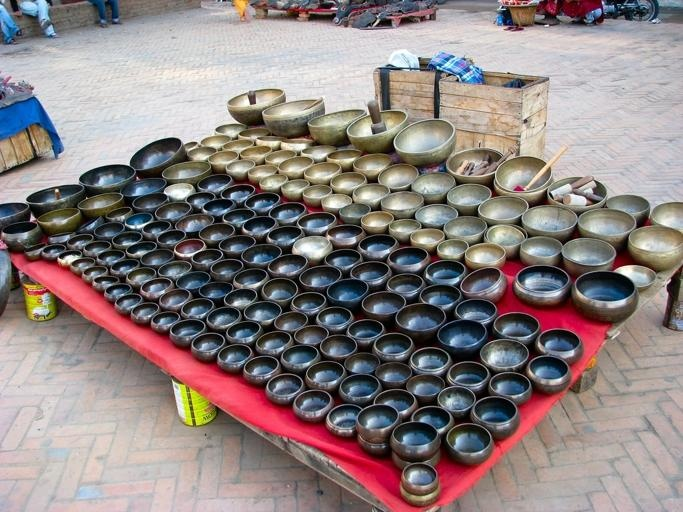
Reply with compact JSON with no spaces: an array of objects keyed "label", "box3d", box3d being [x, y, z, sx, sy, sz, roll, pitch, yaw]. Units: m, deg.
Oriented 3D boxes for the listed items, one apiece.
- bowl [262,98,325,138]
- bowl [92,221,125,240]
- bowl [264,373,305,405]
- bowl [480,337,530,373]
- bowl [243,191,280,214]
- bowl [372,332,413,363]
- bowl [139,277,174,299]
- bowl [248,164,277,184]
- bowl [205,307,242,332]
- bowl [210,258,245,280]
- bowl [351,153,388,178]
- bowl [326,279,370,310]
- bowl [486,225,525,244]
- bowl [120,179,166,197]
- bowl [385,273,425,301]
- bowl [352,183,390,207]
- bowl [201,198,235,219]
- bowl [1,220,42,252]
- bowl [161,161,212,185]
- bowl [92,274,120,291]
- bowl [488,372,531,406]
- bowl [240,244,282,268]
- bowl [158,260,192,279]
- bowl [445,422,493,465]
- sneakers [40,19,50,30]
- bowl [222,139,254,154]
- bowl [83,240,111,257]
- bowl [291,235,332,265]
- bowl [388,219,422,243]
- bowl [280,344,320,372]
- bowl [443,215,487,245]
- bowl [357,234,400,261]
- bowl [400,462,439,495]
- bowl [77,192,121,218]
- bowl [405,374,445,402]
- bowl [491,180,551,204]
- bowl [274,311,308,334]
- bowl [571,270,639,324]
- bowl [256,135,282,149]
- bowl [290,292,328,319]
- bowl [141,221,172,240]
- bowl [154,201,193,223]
[{"label":"bowl","box3d":[-0.495,-1.380,5.125,0.823,0.238,0.485,-13,31,-11]},{"label":"bowl","box3d":[-1.929,-0.191,4.282,0.262,0.088,0.171,5,42,5]},{"label":"bowl","box3d":[-0.323,0.767,2.963,0.263,0.066,0.178,-2,33,8]},{"label":"bowl","box3d":[0.939,0.578,2.934,0.294,0.109,0.188,-9,46,4]},{"label":"bowl","box3d":[-0.688,-0.443,4.341,0.289,0.087,0.248,20,44,30]},{"label":"bowl","box3d":[0.312,0.547,3.041,0.249,0.080,0.164,-3,43,11]},{"label":"bowl","box3d":[-1.329,0.249,3.695,0.226,0.062,0.205,1,30,-1]},{"label":"bowl","box3d":[-0.675,-0.727,4.666,0.276,0.089,0.191,-21,45,-17]},{"label":"bowl","box3d":[-0.779,0.438,3.422,0.229,0.061,0.200,17,35,29]},{"label":"bowl","box3d":[-0.839,0.088,3.698,0.256,0.066,0.172,4,38,4]},{"label":"bowl","box3d":[0.249,-0.791,4.465,0.379,0.110,0.250,-1,44,16]},{"label":"bowl","box3d":[0.080,0.250,3.565,0.399,0.297,0.129,10,71,-9]},{"label":"bowl","box3d":[1.160,-0.153,3.629,0.245,0.070,0.160,-16,37,-5]},{"label":"bowl","box3d":[-1.813,-0.631,4.717,0.345,0.065,0.238,6,37,12]},{"label":"bowl","box3d":[0.435,0.185,3.366,0.256,0.113,0.210,-21,42,-22]},{"label":"bowl","box3d":[0.219,-0.503,4.136,0.342,0.094,0.228,-8,42,3]},{"label":"bowl","box3d":[-1.036,-0.421,4.329,0.310,0.079,0.208,4,38,9]},{"label":"bowl","box3d":[-2.696,-0.194,4.400,0.413,0.147,0.305,-3,24,-7]},{"label":"bowl","box3d":[-1.465,-0.787,4.765,0.452,0.096,0.296,1,38,6]},{"label":"bowl","box3d":[-1.740,0.186,3.784,0.189,0.049,0.127,4,38,2]},{"label":"bowl","box3d":[0.893,0.710,2.744,0.233,0.061,0.175,-14,31,-15]},{"label":"bowl","box3d":[-0.613,0.005,3.793,0.300,0.074,0.202,2,35,9]},{"label":"bowl","box3d":[-1.233,0.086,3.833,0.224,0.059,0.167,11,35,18]},{"label":"bowl","box3d":[0.629,0.933,2.553,0.233,0.067,0.200,16,36,29]},{"label":"sneakers","box3d":[-8.372,-6.562,14.598,0.146,0.183,0.465,-52,17,-22]},{"label":"bowl","box3d":[-1.057,-1.130,5.233,0.318,0.085,0.304,-7,20,3]},{"label":"bowl","box3d":[-1.966,-0.065,4.144,0.222,0.059,0.168,-14,40,-22]},{"label":"bowl","box3d":[-0.164,-0.026,3.858,0.325,0.094,0.261,-19,39,-23]},{"label":"bowl","box3d":[0.468,-0.202,3.842,0.292,0.103,0.195,1,38,6]},{"label":"bowl","box3d":[-0.252,0.614,3.091,0.237,0.063,0.182,10,30,19]},{"label":"bowl","box3d":[0.905,-0.209,3.692,0.336,0.121,0.244,-19,44,-6]},{"label":"bowl","box3d":[0.265,-0.057,3.716,0.326,0.091,0.215,-4,39,9]},{"label":"bowl","box3d":[0.386,1.062,2.426,0.180,0.116,0.078,13,34,31]},{"label":"bowl","box3d":[-2.103,-0.454,4.527,0.386,0.136,0.291,12,41,21]},{"label":"bowl","box3d":[0.457,0.720,2.779,0.223,0.065,0.144,-3,41,5]},{"label":"bowl","box3d":[1.335,-0.473,3.893,0.290,0.074,0.245,-13,22,-28]},{"label":"bowl","box3d":[-0.326,0.424,3.339,0.226,0.077,0.162,-10,31,-11]},{"label":"bowl","box3d":[1.580,0.233,3.094,0.471,0.228,0.320,-5,45,17]},{"label":"bowl","box3d":[-0.709,-1.134,5.067,0.207,0.061,0.215,-1,24,0]},{"label":"bowl","box3d":[-0.212,0.305,3.369,0.271,0.100,0.180,-3,38,-2]},{"label":"bowl","box3d":[-1.508,-0.216,4.183,0.246,0.066,0.184,12,41,19]},{"label":"bowl","box3d":[-1.434,-0.390,4.307,0.327,0.070,0.205,0,45,2]}]
